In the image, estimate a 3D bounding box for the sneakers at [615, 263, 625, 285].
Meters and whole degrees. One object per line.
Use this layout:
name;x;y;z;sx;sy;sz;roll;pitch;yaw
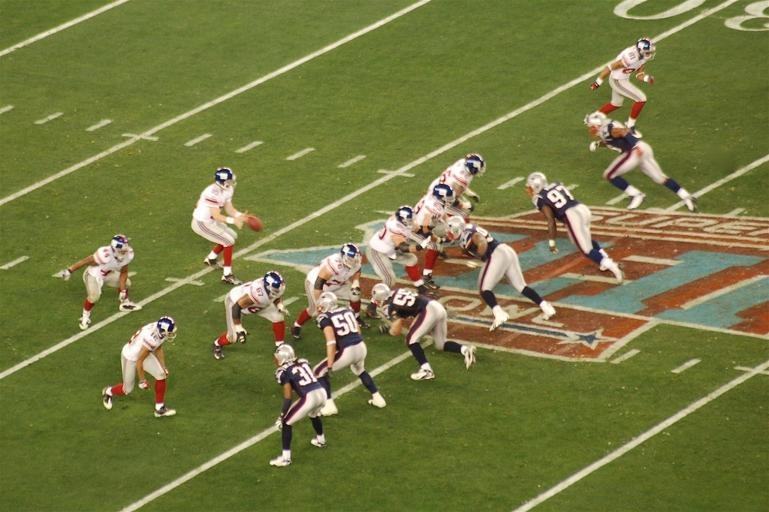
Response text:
sneakers;4.480;0.358;22.306;0.129;0.303;0.168;-7;-12;37

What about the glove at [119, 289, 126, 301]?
glove;-4.926;0.731;22.284;0.180;0.144;0.158;-1;0;-11

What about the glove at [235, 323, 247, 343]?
glove;-2.552;1.375;21.110;0.274;0.316;0.125;-17;17;-9

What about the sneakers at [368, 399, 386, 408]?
sneakers;-0.156;2.537;20.323;0.328;0.112;0.111;0;28;44

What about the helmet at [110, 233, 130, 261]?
helmet;-4.876;-0.183;21.885;0.340;0.446;0.308;-29;26;-2

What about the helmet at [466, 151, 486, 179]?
helmet;1.830;-1.783;23.301;0.314;0.523;0.355;-22;26;14

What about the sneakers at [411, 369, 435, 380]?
sneakers;0.697;2.080;20.738;0.504;0.153;0.163;0;1;3

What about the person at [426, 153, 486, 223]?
person;1.471;-1.312;23.694;1.103;1.720;0.583;17;56;-16

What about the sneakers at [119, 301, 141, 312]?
sneakers;-4.813;0.953;22.386;0.502;0.161;0.151;1;35;2

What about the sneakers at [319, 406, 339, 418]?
sneakers;-0.964;2.620;20.057;0.337;0.215;0.180;-2;1;-10

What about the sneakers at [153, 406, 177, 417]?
sneakers;-3.755;2.675;20.279;0.470;0.165;0.129;-3;58;-8

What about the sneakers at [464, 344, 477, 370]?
sneakers;1.513;1.736;20.813;0.201;0.450;0.179;0;58;3

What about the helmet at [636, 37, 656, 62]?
helmet;5.716;-4.513;25.800;0.339;0.521;0.392;-18;27;21

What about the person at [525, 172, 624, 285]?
person;3.714;-0.607;22.816;1.125;0.837;2.710;-28;61;-19

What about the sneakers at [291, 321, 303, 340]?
sneakers;-1.559;1.365;21.808;0.169;0.340;0.197;-3;-14;-42

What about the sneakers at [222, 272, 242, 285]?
sneakers;-2.985;0.449;23.002;0.463;0.148;0.158;5;24;12

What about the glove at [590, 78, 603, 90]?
glove;4.763;-3.899;26.454;0.242;0.206;0.528;-7;22;24

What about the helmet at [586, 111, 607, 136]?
helmet;4.411;-2.777;24.624;0.663;0.424;0.417;7;-3;3

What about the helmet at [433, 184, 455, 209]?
helmet;1.168;-1.161;22.558;0.530;0.396;0.323;-17;41;-2

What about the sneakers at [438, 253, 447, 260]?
sneakers;1.171;-0.006;23.523;0.183;0.093;0.179;19;-6;7

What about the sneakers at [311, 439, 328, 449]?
sneakers;-1.064;3.114;19.617;0.141;0.093;0.258;-8;15;-33

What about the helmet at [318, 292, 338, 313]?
helmet;-0.983;0.784;20.338;0.360;0.310;0.205;-57;5;5

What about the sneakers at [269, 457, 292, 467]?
sneakers;-1.669;3.367;19.324;0.377;0.114;0.148;3;2;7
